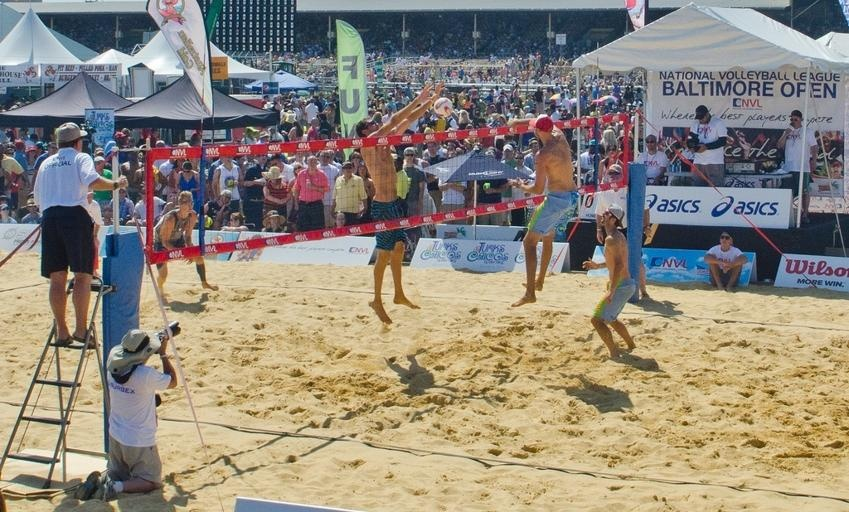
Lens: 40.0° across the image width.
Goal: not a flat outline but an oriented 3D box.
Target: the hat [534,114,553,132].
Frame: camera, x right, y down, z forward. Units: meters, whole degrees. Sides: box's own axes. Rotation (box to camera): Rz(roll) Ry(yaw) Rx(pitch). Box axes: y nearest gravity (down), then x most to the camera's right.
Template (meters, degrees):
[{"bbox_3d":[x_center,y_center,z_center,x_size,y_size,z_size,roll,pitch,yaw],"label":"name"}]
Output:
[{"bbox_3d":[2.021,-2.196,19.300,0.213,0.320,0.322,2,14,-17],"label":"hat"}]
